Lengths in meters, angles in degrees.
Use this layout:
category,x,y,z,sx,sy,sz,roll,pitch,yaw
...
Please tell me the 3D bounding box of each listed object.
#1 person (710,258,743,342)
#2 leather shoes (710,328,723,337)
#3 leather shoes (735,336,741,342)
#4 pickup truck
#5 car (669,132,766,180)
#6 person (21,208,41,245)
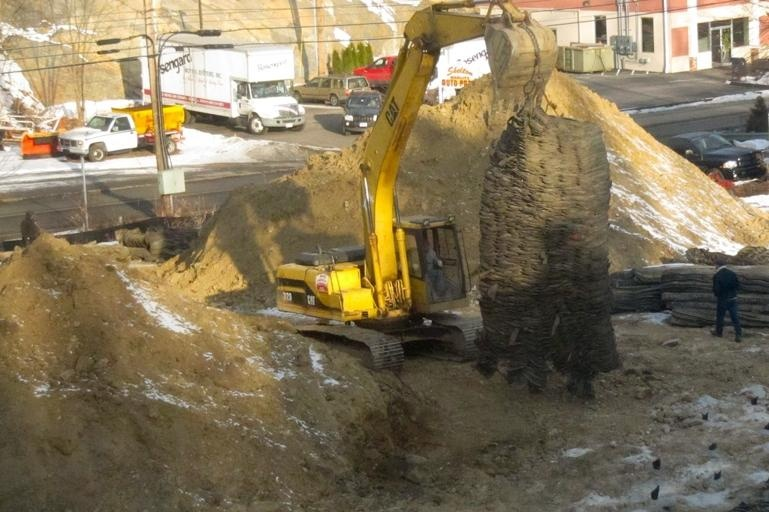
category,x,y,z,sx,sy,sz,roll,pitch,yaw
person,7.565,1.043,16.839,0.609,1.509,0.634,2,12,24
leather shoes,7.415,1.718,17.048,0.202,0.138,0.097,-2,24,5
leather shoes,7.687,1.802,16.619,0.105,0.129,0.103,1,12,21
pickup truck,-11.815,-5.695,37.106,4.978,1.782,2.188,-10,3,2
car,12.778,-3.818,29.571,1.553,1.334,3.124,-12,15,-40
person,-10.825,-0.789,23.436,0.463,1.107,2.023,-9,12,-26
